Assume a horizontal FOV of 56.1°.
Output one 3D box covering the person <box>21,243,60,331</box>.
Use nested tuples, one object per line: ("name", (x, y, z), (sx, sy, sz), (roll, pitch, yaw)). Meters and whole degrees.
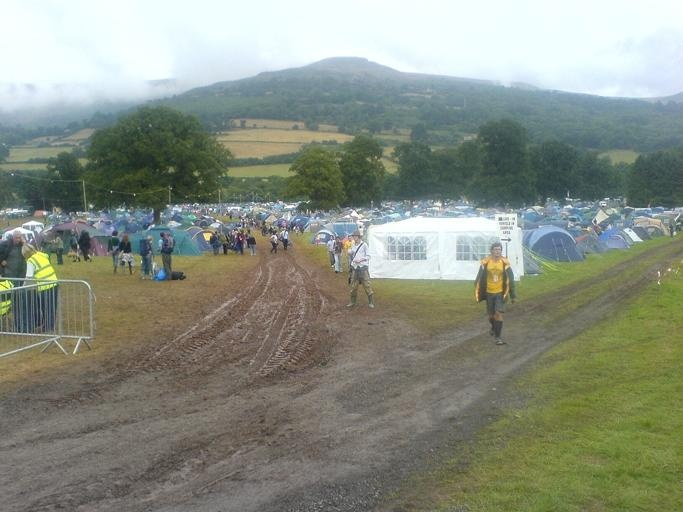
("person", (-6.675, 0.715, 14.219), (0.631, 1.914, 0.941), (-6, 9, -27))

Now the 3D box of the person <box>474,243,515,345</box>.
("person", (3.431, 0.781, 14.307), (0.827, 2.238, 0.933), (0, 8, 12))

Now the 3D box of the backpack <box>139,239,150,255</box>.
("backpack", (-7.582, -0.381, 24.561), (0.392, 0.651, 0.664), (-9, 15, -35))
